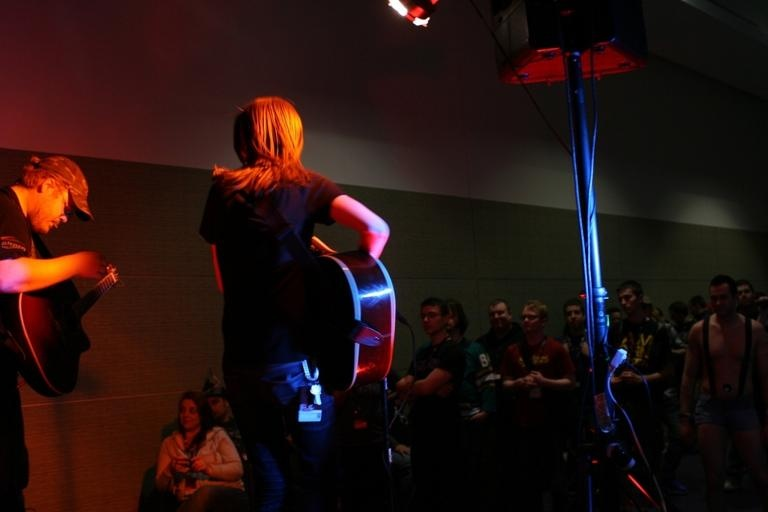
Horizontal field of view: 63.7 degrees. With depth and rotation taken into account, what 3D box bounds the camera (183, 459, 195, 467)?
[{"bbox_3d":[-1.443,1.536,4.600,0.093,0.023,0.054,5,-8,-17],"label":"camera"}]
